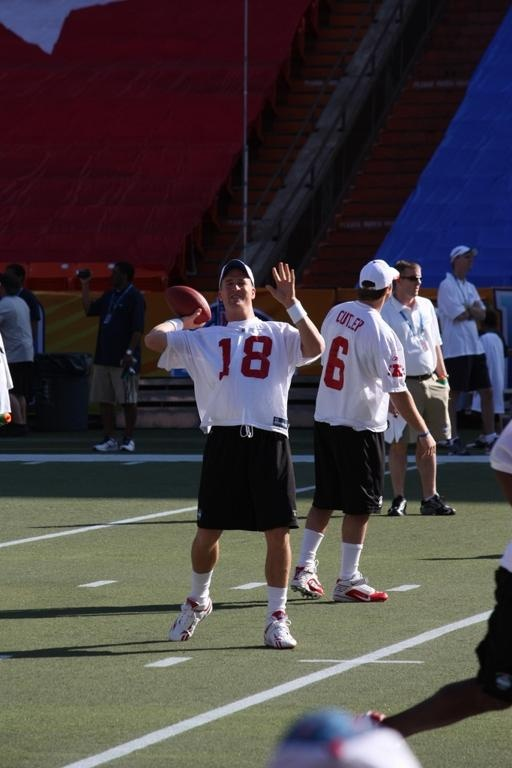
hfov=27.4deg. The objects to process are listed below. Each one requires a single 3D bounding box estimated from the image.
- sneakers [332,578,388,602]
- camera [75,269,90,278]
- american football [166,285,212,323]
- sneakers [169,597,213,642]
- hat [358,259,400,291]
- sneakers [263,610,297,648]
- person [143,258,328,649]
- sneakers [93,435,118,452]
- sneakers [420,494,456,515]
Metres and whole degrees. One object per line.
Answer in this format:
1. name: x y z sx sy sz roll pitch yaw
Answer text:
1. sneakers: 0.575 1.160 5.948 0.343 0.137 0.116 1 0 10
2. camera: -2.252 -1.451 13.799 0.173 0.155 0.110 0 14 -18
3. american football: -0.361 -0.402 5.543 0.249 0.148 0.161 40 24 8
4. sneakers: -0.308 1.148 5.085 0.113 0.282 0.129 37 -2 21
5. hat: 0.759 -0.665 6.429 0.179 0.138 0.265 10 33 28
6. sneakers: 0.125 1.149 4.907 0.150 0.162 0.183 4 5 -6
7. person: -0.105 0.323 5.062 0.842 1.840 0.519 6 6 11
8. sneakers: -1.974 0.798 13.584 0.391 0.159 0.134 -2 -2 -3
9. sneakers: 1.536 1.039 9.010 0.385 0.211 0.127 0 6 6
